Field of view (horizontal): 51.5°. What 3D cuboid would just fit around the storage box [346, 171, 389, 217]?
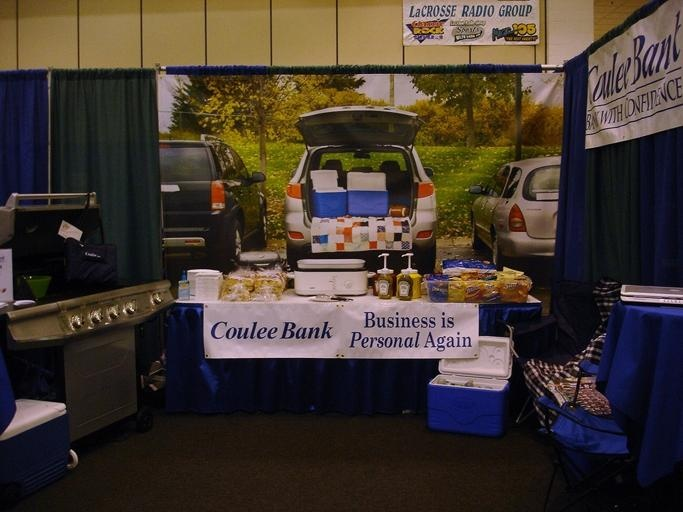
[{"bbox_3d":[0.214,-0.482,5.490,0.319,0.350,0.110,0,3,0],"label":"storage box"}]

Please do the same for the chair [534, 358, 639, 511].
[{"bbox_3d":[1.477,1.074,4.360,0.707,1.006,0.753,-1,-6,24],"label":"chair"}]

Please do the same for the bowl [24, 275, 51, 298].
[{"bbox_3d":[-1.991,0.190,4.616,0.124,0.100,0.132,0,-3,0],"label":"bowl"}]

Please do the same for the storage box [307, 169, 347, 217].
[{"bbox_3d":[-0.100,-0.497,5.647,0.249,0.383,0.263,-4,5,-18],"label":"storage box"}]

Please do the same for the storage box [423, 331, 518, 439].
[{"bbox_3d":[0.924,0.848,5.032,0.542,0.772,0.405,2,2,21],"label":"storage box"}]
